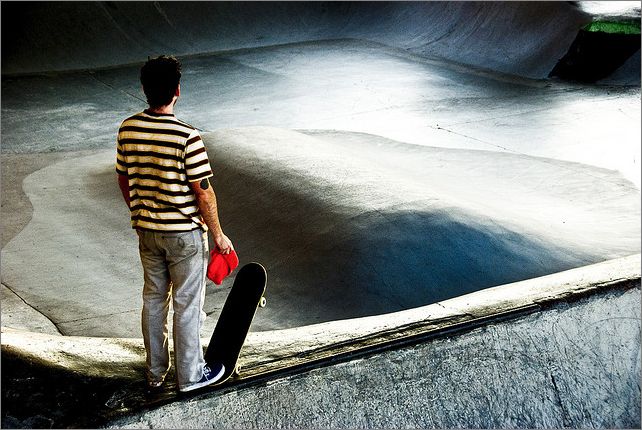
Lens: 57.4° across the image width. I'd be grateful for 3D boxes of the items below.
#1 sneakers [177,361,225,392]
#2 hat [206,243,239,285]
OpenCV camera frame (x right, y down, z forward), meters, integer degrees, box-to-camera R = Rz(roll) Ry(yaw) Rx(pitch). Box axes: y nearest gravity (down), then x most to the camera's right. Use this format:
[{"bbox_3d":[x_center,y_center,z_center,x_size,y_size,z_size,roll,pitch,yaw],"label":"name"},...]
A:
[{"bbox_3d":[-0.838,1.121,4.069,0.340,0.132,0.125,-18,33,-25],"label":"sneakers"},{"bbox_3d":[-0.690,0.315,4.149,0.257,0.083,0.241,15,54,23],"label":"hat"}]
